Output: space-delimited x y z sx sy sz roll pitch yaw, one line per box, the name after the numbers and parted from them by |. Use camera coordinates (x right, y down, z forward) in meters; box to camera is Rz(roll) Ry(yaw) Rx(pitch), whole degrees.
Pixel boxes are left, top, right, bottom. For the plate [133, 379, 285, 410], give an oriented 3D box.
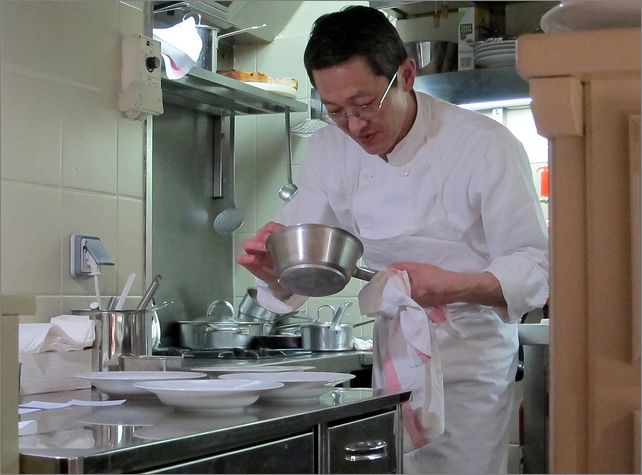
-0.189 0.277 1.091 0.240 0.051 0.182 -1 -3 -4 | plate

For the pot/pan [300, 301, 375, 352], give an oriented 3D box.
0.068 0.396 2.637 0.303 0.188 0.168 1 -6 -6 | pot/pan

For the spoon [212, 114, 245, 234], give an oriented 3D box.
-0.433 -0.325 3.155 0.115 0.639 0.151 2 5 -13 | spoon

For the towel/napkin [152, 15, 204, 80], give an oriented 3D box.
-0.543 -0.742 2.369 0.128 0.242 0.231 -2 -4 27 | towel/napkin

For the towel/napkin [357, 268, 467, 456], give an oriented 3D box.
0.245 0.281 1.542 0.186 0.416 0.232 -7 10 23 | towel/napkin

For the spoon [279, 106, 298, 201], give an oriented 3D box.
-0.164 -0.357 3.088 0.106 0.599 0.102 5 7 32 | spoon

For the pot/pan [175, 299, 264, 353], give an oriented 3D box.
-0.439 0.342 2.695 0.335 0.204 0.330 3 6 26 | pot/pan

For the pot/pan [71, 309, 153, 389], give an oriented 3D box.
-0.520 0.278 1.576 0.131 0.150 0.106 6 4 22 | pot/pan
